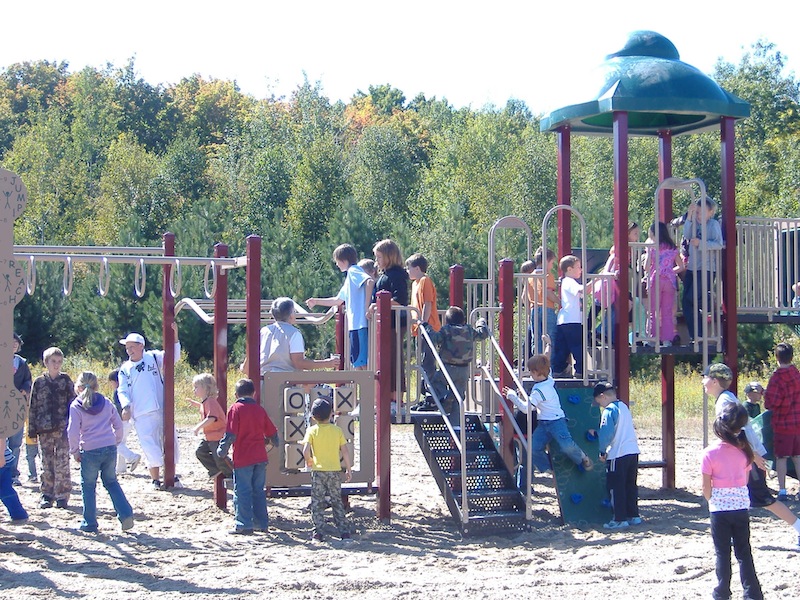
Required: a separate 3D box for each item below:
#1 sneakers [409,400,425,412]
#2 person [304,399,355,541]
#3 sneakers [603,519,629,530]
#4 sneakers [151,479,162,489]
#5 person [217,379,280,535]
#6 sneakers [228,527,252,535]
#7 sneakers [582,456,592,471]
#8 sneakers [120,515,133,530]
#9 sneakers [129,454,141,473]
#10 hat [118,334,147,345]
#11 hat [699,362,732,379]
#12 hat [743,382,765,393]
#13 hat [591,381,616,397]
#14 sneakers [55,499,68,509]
[{"bbox_3d":[0.329,2.003,30.820,0.111,0.172,0.343,3,-2,-20],"label":"sneakers"},{"bbox_3d":[-1.292,3.085,29.645,0.798,2.538,0.346,0,8,-4],"label":"person"},{"bbox_3d":[3.995,4.173,30.221,0.439,0.259,0.190,2,-7,4],"label":"sneakers"},{"bbox_3d":[-4.716,3.613,32.007,0.132,0.232,0.438,1,0,-9],"label":"sneakers"},{"bbox_3d":[-2.724,2.854,29.817,0.946,2.816,0.428,-1,8,-8],"label":"person"},{"bbox_3d":[-2.886,4.211,29.878,0.397,0.228,0.166,-3,-6,15],"label":"sneakers"},{"bbox_3d":[3.507,3.057,30.575,0.161,0.348,0.205,-2,4,-28],"label":"sneakers"},{"bbox_3d":[-4.927,4.068,29.835,0.212,0.341,0.397,-1,10,-10],"label":"sneakers"},{"bbox_3d":[-5.236,3.293,32.580,0.172,0.406,0.085,25,13,16],"label":"sneakers"},{"bbox_3d":[-6.097,0.916,37.768,0.568,0.282,0.400,0,-4,39],"label":"hat"},{"bbox_3d":[5.730,1.288,29.489,0.378,0.246,0.311,9,-2,21],"label":"hat"},{"bbox_3d":[6.788,1.670,31.303,0.264,0.190,0.211,-2,6,-25],"label":"hat"},{"bbox_3d":[3.788,1.668,30.529,0.229,0.251,0.359,-2,3,-1],"label":"hat"},{"bbox_3d":[-6.315,3.841,30.835,0.148,0.141,0.155,2,0,36],"label":"sneakers"}]
